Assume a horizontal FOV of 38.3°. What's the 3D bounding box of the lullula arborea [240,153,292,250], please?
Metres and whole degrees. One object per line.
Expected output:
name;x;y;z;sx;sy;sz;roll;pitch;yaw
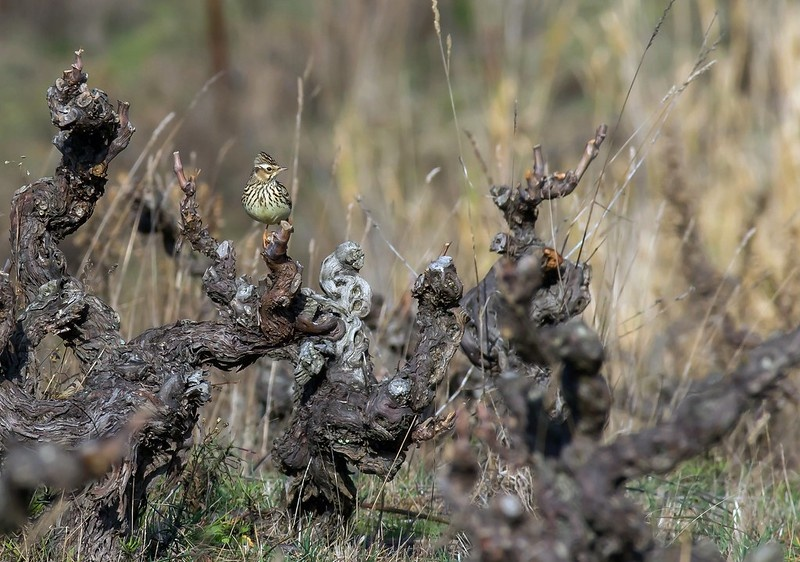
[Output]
lullula arborea;-0.642;-0.355;5.553;0.198;0.459;0.323;-5;56;-4
